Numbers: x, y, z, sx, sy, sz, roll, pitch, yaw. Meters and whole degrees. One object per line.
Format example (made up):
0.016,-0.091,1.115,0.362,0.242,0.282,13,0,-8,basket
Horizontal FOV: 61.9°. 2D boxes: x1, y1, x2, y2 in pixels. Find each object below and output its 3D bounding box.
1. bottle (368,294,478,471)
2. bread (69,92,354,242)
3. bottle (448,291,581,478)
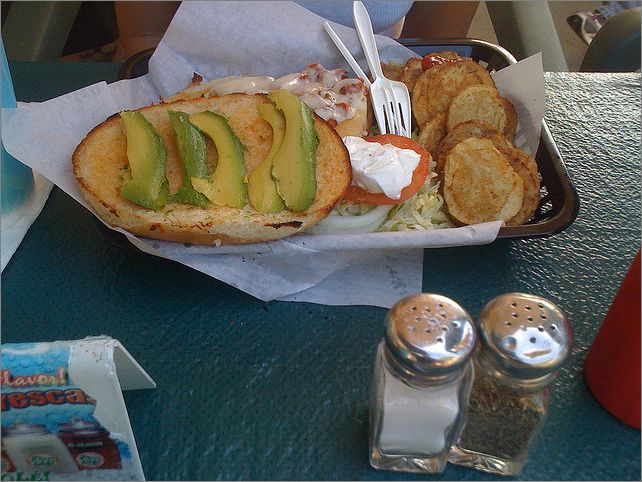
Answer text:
0.154,0.252,1.008,0.171,0.321,0.187,5,27,-2,bottle
-0.269,-0.209,1.347,0.689,0.160,0.452,0,55,3,bread
0.337,0.272,0.981,0.161,0.294,0.245,14,57,13,bottle
